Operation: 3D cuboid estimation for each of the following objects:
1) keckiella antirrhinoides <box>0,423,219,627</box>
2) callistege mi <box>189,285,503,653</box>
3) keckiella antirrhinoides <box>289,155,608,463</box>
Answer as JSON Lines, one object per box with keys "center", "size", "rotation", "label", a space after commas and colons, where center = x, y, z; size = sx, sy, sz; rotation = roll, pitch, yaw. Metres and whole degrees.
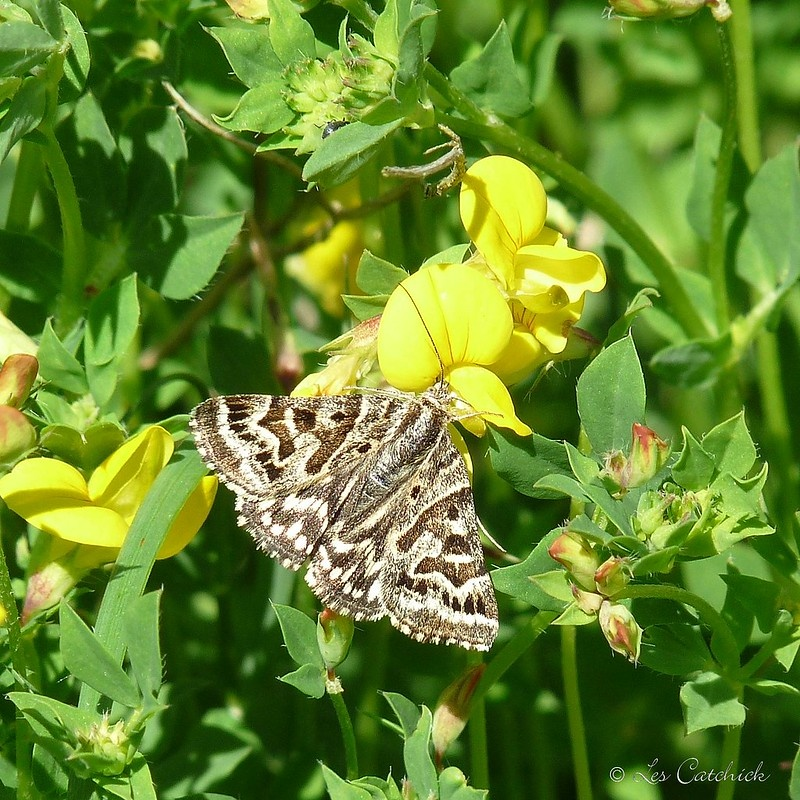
{"center": [-0.283, 0.094, 0.978], "size": [0.171, 0.051, 0.184], "rotation": [32, 81, -12], "label": "keckiella antirrhinoides"}
{"center": [-0.030, 0.101, 1.094], "size": [0.379, 0.104, 0.296], "rotation": [34, 87, 15], "label": "callistege mi"}
{"center": [0.082, -0.085, 1.086], "size": [0.263, 0.127, 0.280], "rotation": [36, 105, 0], "label": "keckiella antirrhinoides"}
